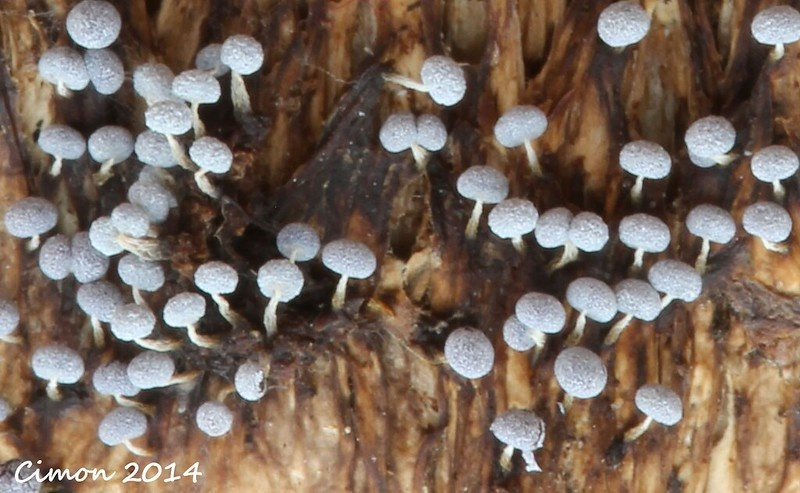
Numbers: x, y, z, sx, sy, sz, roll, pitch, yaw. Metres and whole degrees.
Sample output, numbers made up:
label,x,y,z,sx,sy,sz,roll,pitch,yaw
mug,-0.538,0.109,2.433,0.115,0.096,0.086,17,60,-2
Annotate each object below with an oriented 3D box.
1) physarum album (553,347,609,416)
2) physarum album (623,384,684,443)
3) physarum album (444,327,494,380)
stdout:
label,x,y,z,sx,sy,sz,roll,pitch,yaw
physarum album,0.576,0.396,4.761,0.147,0.072,0.166,-21,85,-4
physarum album,0.807,0.534,4.847,0.131,0.045,0.172,36,105,2
physarum album,0.227,0.338,4.799,0.144,0.076,0.164,-43,87,-5
